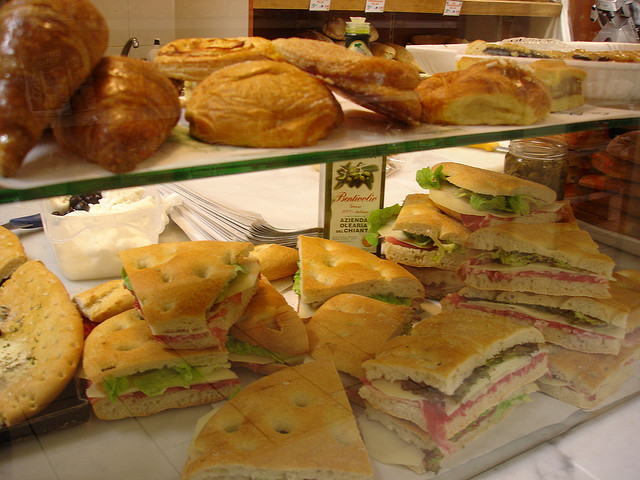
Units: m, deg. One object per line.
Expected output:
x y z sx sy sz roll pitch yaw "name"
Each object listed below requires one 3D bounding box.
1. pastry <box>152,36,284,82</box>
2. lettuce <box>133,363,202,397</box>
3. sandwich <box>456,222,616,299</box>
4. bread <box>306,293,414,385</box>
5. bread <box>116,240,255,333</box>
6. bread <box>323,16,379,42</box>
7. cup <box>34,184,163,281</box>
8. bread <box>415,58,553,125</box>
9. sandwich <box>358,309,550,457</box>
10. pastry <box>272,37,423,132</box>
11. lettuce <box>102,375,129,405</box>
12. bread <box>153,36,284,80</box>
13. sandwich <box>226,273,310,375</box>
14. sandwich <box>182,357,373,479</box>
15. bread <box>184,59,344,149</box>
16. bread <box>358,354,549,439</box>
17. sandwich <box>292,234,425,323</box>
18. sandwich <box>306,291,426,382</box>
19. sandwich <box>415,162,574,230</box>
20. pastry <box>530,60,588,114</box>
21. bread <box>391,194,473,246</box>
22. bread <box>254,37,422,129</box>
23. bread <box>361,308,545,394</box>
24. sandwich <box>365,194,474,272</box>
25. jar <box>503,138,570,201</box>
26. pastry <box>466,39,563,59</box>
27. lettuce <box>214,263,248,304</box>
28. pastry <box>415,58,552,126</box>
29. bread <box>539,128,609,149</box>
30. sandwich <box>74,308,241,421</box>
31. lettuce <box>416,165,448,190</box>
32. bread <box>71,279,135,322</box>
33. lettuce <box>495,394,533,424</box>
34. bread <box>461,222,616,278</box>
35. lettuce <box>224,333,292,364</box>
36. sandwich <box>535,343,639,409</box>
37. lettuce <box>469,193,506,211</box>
-0.129 -0.212 0.580 0.128 0.023 0.074 -5 18 -19 "pastry"
-0.232 0.217 0.744 0.097 0.016 0.047 -7 31 -12 "lettuce"
0.471 0.044 0.955 0.299 0.094 0.355 0 4 -6 "sandwich"
0.075 0.163 0.927 0.180 0.046 0.186 17 47 9 "bread"
-0.223 0.076 0.797 0.204 0.041 0.216 -6 26 -25 "bread"
0.038 -0.281 0.643 0.069 0.013 0.042 13 34 17 "bread"
-0.371 -0.031 1.044 0.378 0.143 0.239 -9 26 -22 "cup"
0.244 -0.208 0.700 0.212 0.043 0.116 -2 27 4 "bread"
0.271 0.241 0.897 0.346 0.114 0.234 -19 25 -35 "sandwich"
0.048 -0.198 0.625 0.178 0.043 0.110 14 9 2 "pastry"
-0.307 0.225 0.718 0.042 0.034 0.019 0 -12 -26 "lettuce"
-0.122 -0.227 0.593 0.187 0.032 0.080 -2 41 7 "bread"
-0.089 0.142 0.886 0.162 0.050 0.185 -7 33 0 "sandwich"
-0.080 0.281 0.748 0.263 0.095 0.205 -4 22 -12 "sandwich"
-0.077 -0.180 0.607 0.220 0.075 0.106 -13 47 -29 "bread"
0.261 0.304 0.923 0.313 0.067 0.395 7 -11 -8 "bread"
0.046 0.061 1.043 0.249 0.056 0.303 -28 42 -27 "sandwich"
0.075 0.154 0.949 0.175 0.062 0.220 26 47 14 "sandwich"
0.361 -0.112 1.143 0.413 0.080 0.290 8 5 -1 "sandwich"
0.370 -0.248 0.784 0.122 0.064 0.068 -27 32 -36 "pastry"
0.242 -0.048 1.067 0.167 0.026 0.119 7 31 -4 "bread"
0.024 -0.202 0.650 0.179 0.043 0.113 16 6 -7 "bread"
0.233 0.183 0.861 0.288 0.050 0.171 -18 23 -38 "bread"
0.190 -0.024 1.064 0.248 0.060 0.169 4 36 0 "sandwich"
0.522 -0.159 1.105 0.127 0.131 0.160 -19 28 -13 "jar"
0.307 -0.297 0.743 0.173 0.025 0.034 -6 24 -20 "pastry"
-0.154 0.073 0.825 0.020 0.054 0.065 27 73 27 "lettuce"
0.235 -0.209 0.700 0.213 0.042 0.115 -2 29 1 "pastry"
0.574 -0.225 1.089 0.171 0.027 0.129 -5 8 -19 "bread"
-0.191 0.237 0.803 0.282 0.193 0.092 -17 64 23 "sandwich"
0.252 -0.144 1.097 0.076 0.030 0.057 19 57 0 "lettuce"
-0.374 0.107 0.838 0.089 0.019 0.085 25 35 33 "bread"
0.351 0.299 0.867 0.061 0.011 0.044 -4 23 14 "lettuce"
0.423 0.009 0.916 0.222 0.036 0.150 4 19 10 "bread"
-0.105 0.189 0.814 0.131 0.024 0.059 -10 33 10 "lettuce"
0.545 0.259 0.963 0.211 0.045 0.139 -15 25 -31 "sandwich"
0.352 -0.081 1.005 0.075 0.032 0.025 8 27 17 "lettuce"
